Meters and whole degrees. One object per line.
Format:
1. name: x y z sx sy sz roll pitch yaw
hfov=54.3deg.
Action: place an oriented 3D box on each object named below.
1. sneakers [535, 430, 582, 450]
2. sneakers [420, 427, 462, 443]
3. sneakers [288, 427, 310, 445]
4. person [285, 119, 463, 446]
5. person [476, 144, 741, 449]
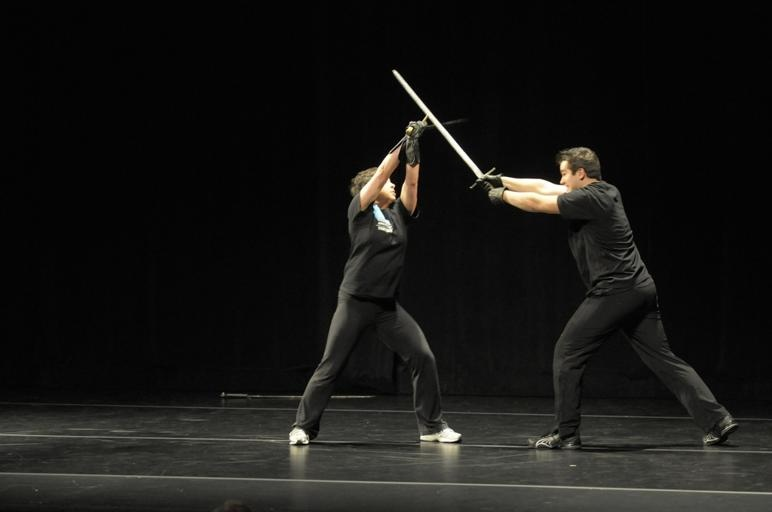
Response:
1. sneakers: 1.251 1.340 5.477 0.338 0.134 0.125 1 -9 12
2. sneakers: 0.429 1.385 5.825 0.282 0.121 0.121 -3 -10 11
3. sneakers: -0.629 1.374 5.681 0.167 0.140 0.138 7 -26 -13
4. person: -0.086 0.179 5.792 1.196 2.429 1.211 -1 -26 5
5. person: 1.629 0.445 5.527 0.946 1.821 1.592 -17 -31 34
